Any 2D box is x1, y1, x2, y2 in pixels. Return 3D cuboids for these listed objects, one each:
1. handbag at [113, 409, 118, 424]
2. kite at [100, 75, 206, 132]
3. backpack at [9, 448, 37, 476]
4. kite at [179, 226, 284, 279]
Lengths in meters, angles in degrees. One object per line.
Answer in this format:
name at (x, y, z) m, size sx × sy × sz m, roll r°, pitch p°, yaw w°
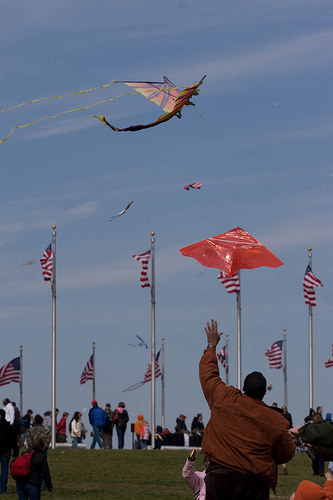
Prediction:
handbag at (-1.293, 4.361, 39.637) m, size 0.097 × 0.366 × 0.360 m, roll 0°, pitch -9°, yaw -8°
kite at (-0.186, -2.709, 28.018) m, size 1.254 × 1.159 × 1.336 m, roll 8°, pitch -13°, yaw -44°
backpack at (-2.284, 3.442, 24.218) m, size 0.351 × 0.386 × 0.253 m, roll 18°, pitch -21°, yaw -38°
kite at (0.952, 0.029, 22.164) m, size 0.878 × 0.396 × 0.953 m, roll 6°, pitch -15°, yaw -7°
